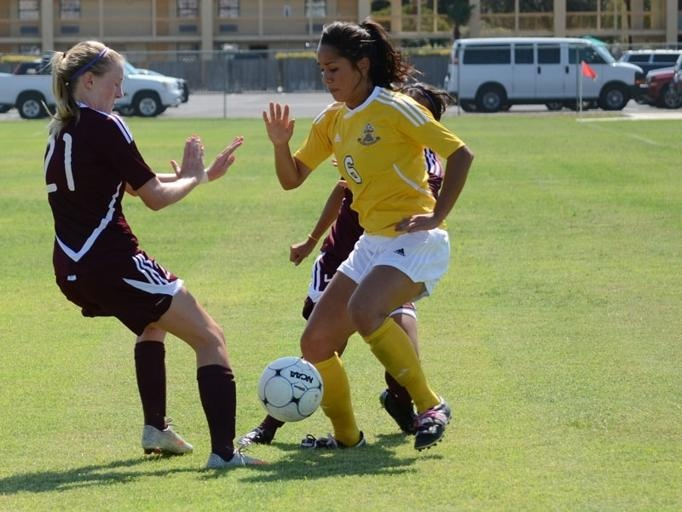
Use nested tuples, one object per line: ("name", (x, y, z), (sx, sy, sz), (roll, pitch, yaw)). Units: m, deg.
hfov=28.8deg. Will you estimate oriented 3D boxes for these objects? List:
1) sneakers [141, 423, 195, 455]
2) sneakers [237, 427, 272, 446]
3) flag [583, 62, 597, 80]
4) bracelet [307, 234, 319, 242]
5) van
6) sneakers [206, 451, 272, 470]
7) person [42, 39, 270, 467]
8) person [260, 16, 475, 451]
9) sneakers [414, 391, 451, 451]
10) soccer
("sneakers", (-1.257, 1.320, 9.498), (0.350, 0.177, 0.166), (1, 3, -18))
("sneakers", (-0.647, 1.310, 9.662), (0.279, 0.115, 0.100), (-7, 11, -26))
("flag", (5.615, -4.190, 29.860), (0.447, 0.423, 0.062), (29, -45, -32))
("bracelet", (-0.227, -0.135, 10.278), (0.054, 0.014, 0.056), (40, -12, -23))
("van", (4.718, -4.339, 31.891), (4.807, 1.707, 1.578), (-2, 8, -10))
("sneakers", (-0.727, 1.399, 9.181), (0.421, 0.132, 0.145), (-1, -1, -9))
("person", (-1.427, -0.022, 9.252), (1.301, 2.931, 0.742), (-1, 7, -5))
("person", (0.227, -0.144, 9.497), (1.410, 3.045, 0.760), (1, 7, 13))
("sneakers", (0.637, 1.217, 9.324), (0.298, 0.354, 0.210), (-3, 7, -15))
("soccer", (-0.355, 0.974, 9.564), (0.472, 0.442, 0.447), (8, -24, 5))
